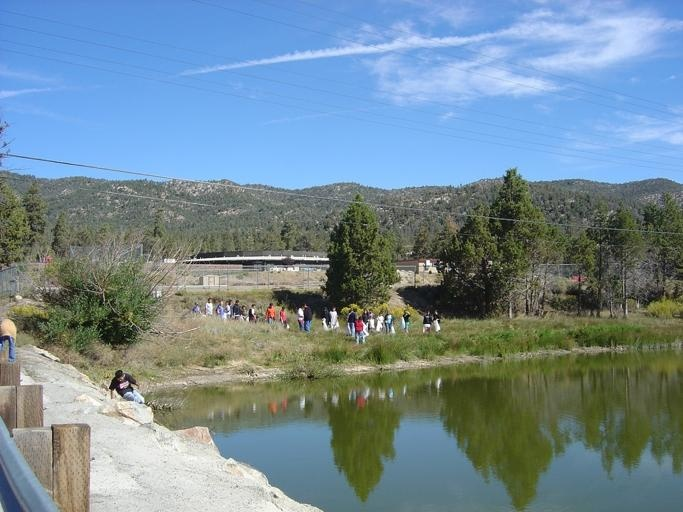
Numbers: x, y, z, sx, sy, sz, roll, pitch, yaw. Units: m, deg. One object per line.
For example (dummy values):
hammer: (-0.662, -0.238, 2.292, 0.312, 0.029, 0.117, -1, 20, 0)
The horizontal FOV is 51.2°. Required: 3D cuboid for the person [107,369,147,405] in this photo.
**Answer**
person: (-6.988, 4.225, 23.205, 0.997, 1.095, 1.797, 0, 4, -22)
